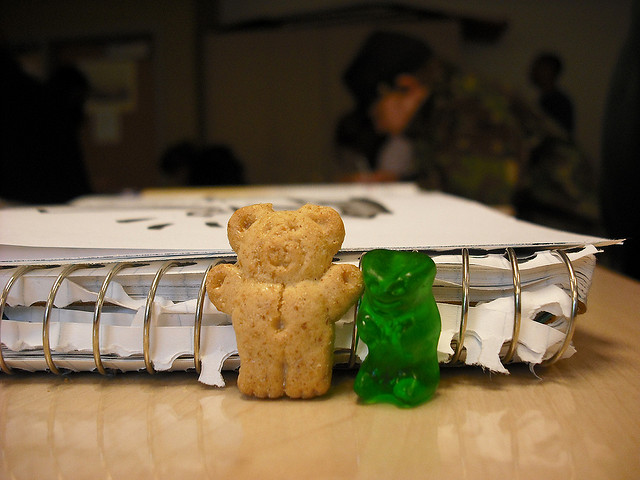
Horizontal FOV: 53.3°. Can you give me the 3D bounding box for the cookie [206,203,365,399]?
[{"bbox_3d":[-0.037,0.073,0.686,0.208,0.242,0.043,0,-6,4],"label":"cookie"}]
